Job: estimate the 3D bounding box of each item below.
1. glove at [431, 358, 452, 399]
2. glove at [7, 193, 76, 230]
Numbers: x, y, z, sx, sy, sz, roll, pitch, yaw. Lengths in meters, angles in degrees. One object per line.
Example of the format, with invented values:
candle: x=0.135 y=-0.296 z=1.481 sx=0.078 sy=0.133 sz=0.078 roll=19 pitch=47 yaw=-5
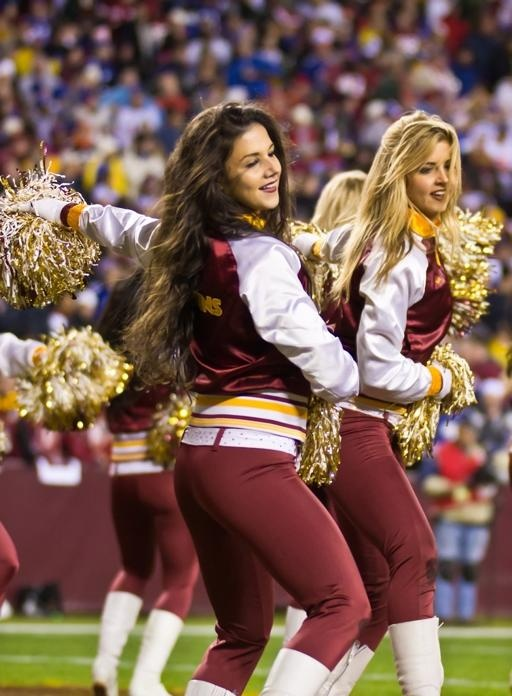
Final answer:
glove: x=0.586 y=0.109 z=2.797 sx=0.055 sy=0.117 sz=0.141 roll=-5 pitch=22 yaw=10
glove: x=-0.591 y=-0.376 z=2.479 sx=0.194 sy=0.071 sz=0.064 roll=1 pitch=24 yaw=20
